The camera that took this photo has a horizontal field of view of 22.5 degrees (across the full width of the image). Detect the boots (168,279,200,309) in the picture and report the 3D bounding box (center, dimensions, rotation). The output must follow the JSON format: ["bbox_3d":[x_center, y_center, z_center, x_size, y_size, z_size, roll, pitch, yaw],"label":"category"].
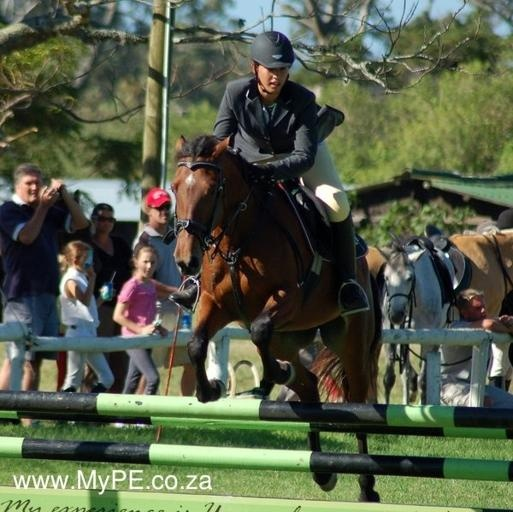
[{"bbox_3d":[-0.512,0.272,9.248,0.114,0.150,0.345,31,4,8],"label":"boots"}]

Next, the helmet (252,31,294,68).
[{"bbox_3d":[0.117,-1.555,9.628,0.334,0.252,0.491,-3,17,-14],"label":"helmet"}]

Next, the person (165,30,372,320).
[{"bbox_3d":[0.228,-0.621,9.717,1.229,2.100,0.573,2,-2,-27],"label":"person"}]

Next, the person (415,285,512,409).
[{"bbox_3d":[2.005,0.833,11.977,0.671,1.058,1.106,1,-2,1],"label":"person"}]

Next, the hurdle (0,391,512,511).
[{"bbox_3d":[0.063,1.334,8.951,3.345,0.746,1.099,0,-2,15],"label":"hurdle"}]

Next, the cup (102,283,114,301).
[{"bbox_3d":[-1.330,0.314,11.271,0.131,0.148,0.101,11,-25,-6],"label":"cup"}]
